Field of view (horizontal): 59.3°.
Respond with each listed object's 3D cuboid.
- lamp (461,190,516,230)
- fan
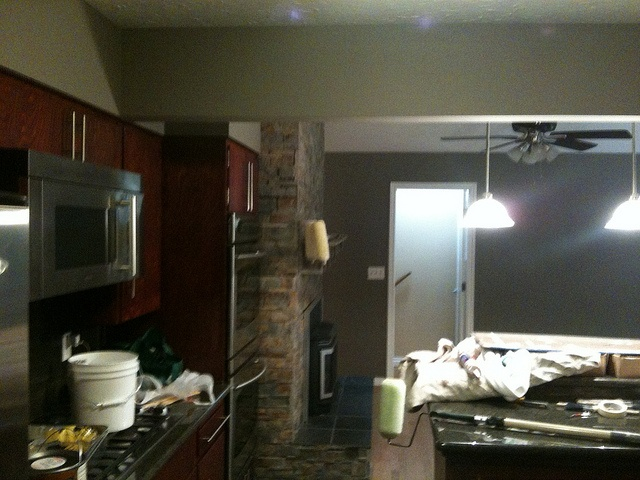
[{"bbox_3d":[0.979,-0.181,3.341,0.252,0.209,0.231,1,-2,0],"label":"lamp"},{"bbox_3d":[1.874,-0.876,4.999,0.768,0.209,0.767,0,-2,-37],"label":"fan"}]
